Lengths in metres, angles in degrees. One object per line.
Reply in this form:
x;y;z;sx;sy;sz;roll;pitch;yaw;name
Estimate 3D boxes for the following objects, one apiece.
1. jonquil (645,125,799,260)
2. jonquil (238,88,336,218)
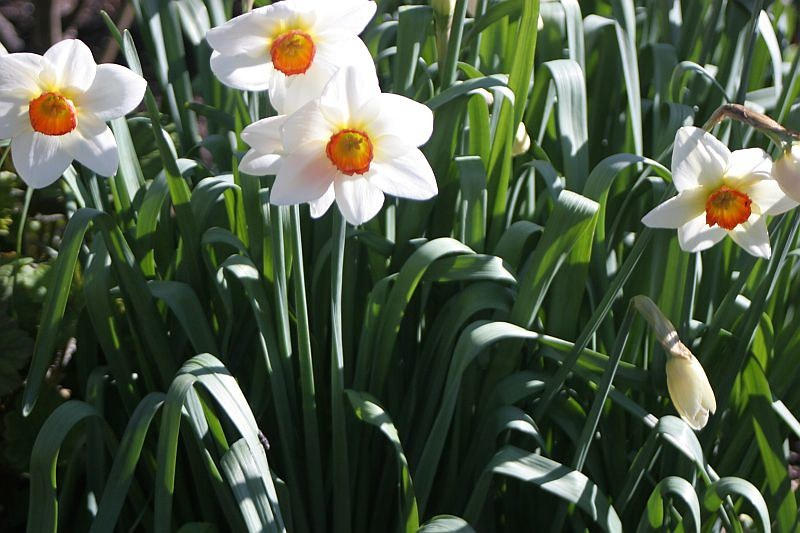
0.711;-0.164;1.969;0.348;0.257;0.162;-1;-11;0;jonquil
-0.244;-0.241;1.901;0.078;0.255;0.185;-14;17;-29;jonquil
